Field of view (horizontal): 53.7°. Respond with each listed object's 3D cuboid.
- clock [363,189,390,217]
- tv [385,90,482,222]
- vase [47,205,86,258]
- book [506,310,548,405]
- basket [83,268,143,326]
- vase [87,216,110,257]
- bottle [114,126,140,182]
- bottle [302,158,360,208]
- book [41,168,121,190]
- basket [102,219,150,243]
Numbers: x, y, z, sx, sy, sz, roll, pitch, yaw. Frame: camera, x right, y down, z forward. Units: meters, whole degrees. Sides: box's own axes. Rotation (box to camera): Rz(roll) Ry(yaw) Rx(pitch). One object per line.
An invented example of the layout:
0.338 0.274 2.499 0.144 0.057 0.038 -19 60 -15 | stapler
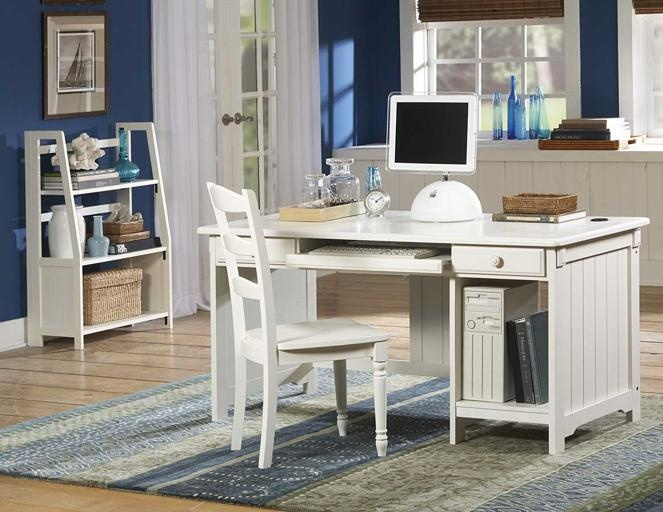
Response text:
0.191 -0.228 2.899 0.116 0.109 0.028 -3 3 28 | clock
0.487 -0.445 2.884 0.446 0.538 0.347 9 20 37 | tv
-1.610 -0.149 3.996 0.215 0.319 0.283 -7 7 -30 | vase
0.695 0.365 2.331 0.126 0.290 0.323 -2 6 29 | book
-1.541 0.290 4.288 0.318 0.369 0.546 -10 -1 -4 | basket
-1.494 -0.124 4.152 0.181 0.245 0.176 -6 15 -44 | vase
-1.386 -0.666 4.354 0.229 0.329 0.218 0 15 0 | bottle
0.007 -0.336 3.038 0.272 0.241 0.233 0 6 10 | bottle
-1.559 -0.469 4.046 0.455 0.124 0.212 -5 7 -19 | book
-1.372 -0.156 4.290 0.161 0.090 0.218 2 9 27 | basket
